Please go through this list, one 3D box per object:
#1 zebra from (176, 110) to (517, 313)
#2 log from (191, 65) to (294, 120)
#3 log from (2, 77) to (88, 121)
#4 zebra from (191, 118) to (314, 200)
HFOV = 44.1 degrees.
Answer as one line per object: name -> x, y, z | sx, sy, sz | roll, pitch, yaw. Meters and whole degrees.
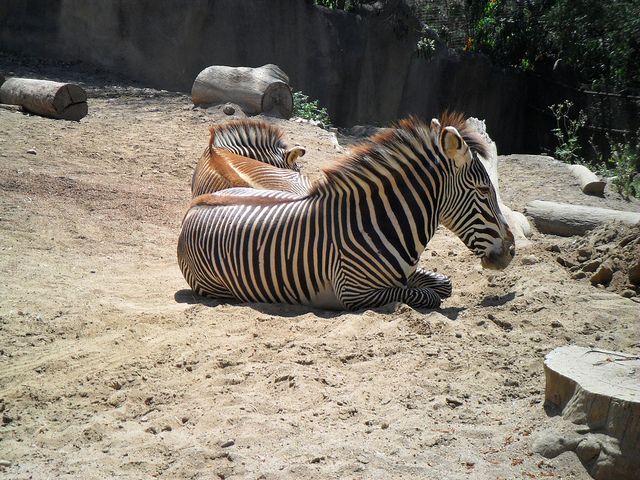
zebra -> 0.239, -0.118, 9.307 | 3.977, 2.383, 1.321 | -2, 27, 9
log -> -1.480, -3.001, 15.481 | 1.793, 1.058, 1.129 | -10, 22, -27
log -> -4.913, -2.511, 13.953 | 1.463, 0.637, 0.548 | 10, 13, 13
zebra -> -0.939, -0.870, 11.021 | 1.486, 1.389, 1.569 | -4, 19, -25
